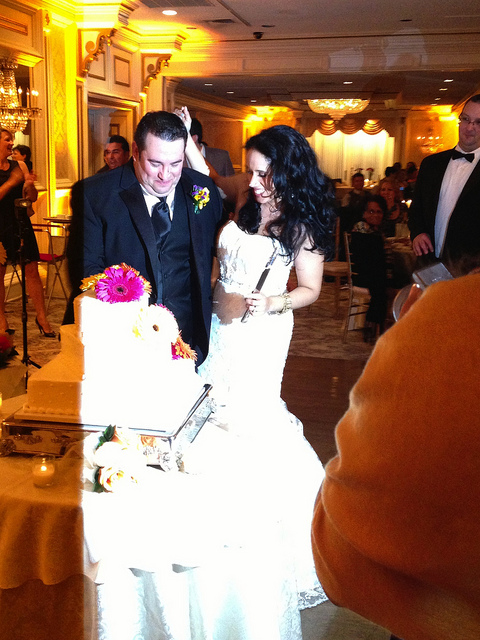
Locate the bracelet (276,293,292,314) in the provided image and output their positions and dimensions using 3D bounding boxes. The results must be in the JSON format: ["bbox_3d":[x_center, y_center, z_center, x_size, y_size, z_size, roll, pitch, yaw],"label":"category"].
[{"bbox_3d":[0.193,-0.070,2.216,0.056,0.085,0.035,4,17,4],"label":"bracelet"}]

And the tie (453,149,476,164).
[{"bbox_3d":[1.546,-1.139,3.555,0.068,0.081,0.158,-4,18,-21],"label":"tie"}]

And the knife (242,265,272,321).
[{"bbox_3d":[0.075,-0.114,2.183,0.031,0.290,0.032,43,-17,-26],"label":"knife"}]

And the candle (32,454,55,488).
[{"bbox_3d":[-0.499,0.380,1.302,0.055,0.079,0.051,-4,18,-21],"label":"candle"}]

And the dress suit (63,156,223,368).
[{"bbox_3d":[-0.348,-0.227,2.120,0.695,0.824,0.427,-3,18,-20],"label":"dress suit"}]

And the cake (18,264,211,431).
[{"bbox_3d":[-0.356,0.052,1.516,0.482,0.381,0.443,8,19,15],"label":"cake"}]

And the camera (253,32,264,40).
[{"bbox_3d":[0.306,-4.939,8.891,0.124,0.084,0.124,-22,37,-31],"label":"camera"}]

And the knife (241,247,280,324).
[{"bbox_3d":[0.073,-0.154,2.314,0.165,0.329,0.146,-1,17,-23],"label":"knife"}]
